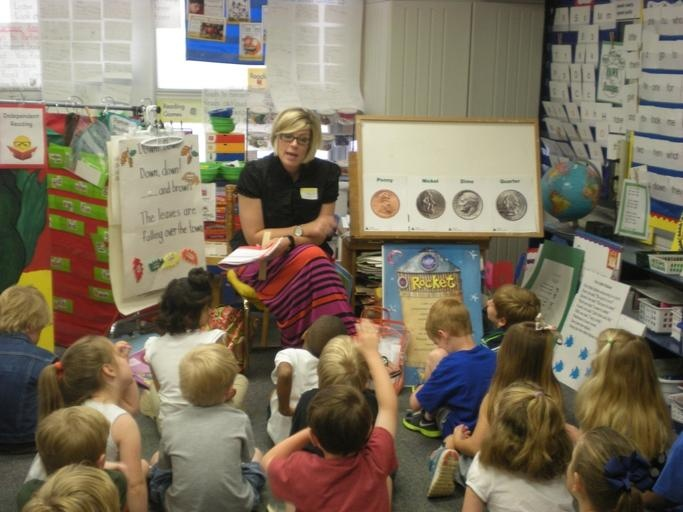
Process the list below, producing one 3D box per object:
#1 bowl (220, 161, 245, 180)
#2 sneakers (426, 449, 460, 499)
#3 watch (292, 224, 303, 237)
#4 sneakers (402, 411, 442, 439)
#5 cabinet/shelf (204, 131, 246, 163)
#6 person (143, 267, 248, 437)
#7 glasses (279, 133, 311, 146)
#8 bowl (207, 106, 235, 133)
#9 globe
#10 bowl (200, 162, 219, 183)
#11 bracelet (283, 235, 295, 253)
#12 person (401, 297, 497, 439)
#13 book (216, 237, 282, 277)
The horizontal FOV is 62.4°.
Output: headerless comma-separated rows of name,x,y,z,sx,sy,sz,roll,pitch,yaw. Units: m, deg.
bowl,-0.858,-0.660,4.447,0.175,0.120,0.178,0,14,0
sneakers,0.474,1.037,2.734,0.102,0.319,0.144,5,14,-17
watch,-0.293,-0.166,3.794,0.048,0.077,0.071,-1,-18,4
sneakers,0.459,0.955,3.302,0.247,0.124,0.094,19,22,38
cabinet/shelf,-0.977,-0.923,4.765,0.275,0.176,0.273,-1,7,-7
person,-0.775,0.514,3.072,0.505,0.899,0.512,-4,-5,6
glasses,-0.312,-0.777,3.739,0.196,0.068,0.050,1,9,-3
bowl,-1.000,-1.131,4.698,0.197,0.161,0.197,-3,4,0
globe,1.700,-0.473,4.207,0.423,0.496,0.423,-15,23,-18
bowl,-1.031,-0.655,4.409,0.144,0.100,0.145,1,16,0
bracelet,-0.327,-0.085,3.643,0.062,0.099,0.087,-2,10,-16
person,0.599,0.646,3.176,0.489,0.811,0.595,-3,10,-24
book,-0.571,-0.010,3.499,0.247,0.090,0.247,-6,20,39
